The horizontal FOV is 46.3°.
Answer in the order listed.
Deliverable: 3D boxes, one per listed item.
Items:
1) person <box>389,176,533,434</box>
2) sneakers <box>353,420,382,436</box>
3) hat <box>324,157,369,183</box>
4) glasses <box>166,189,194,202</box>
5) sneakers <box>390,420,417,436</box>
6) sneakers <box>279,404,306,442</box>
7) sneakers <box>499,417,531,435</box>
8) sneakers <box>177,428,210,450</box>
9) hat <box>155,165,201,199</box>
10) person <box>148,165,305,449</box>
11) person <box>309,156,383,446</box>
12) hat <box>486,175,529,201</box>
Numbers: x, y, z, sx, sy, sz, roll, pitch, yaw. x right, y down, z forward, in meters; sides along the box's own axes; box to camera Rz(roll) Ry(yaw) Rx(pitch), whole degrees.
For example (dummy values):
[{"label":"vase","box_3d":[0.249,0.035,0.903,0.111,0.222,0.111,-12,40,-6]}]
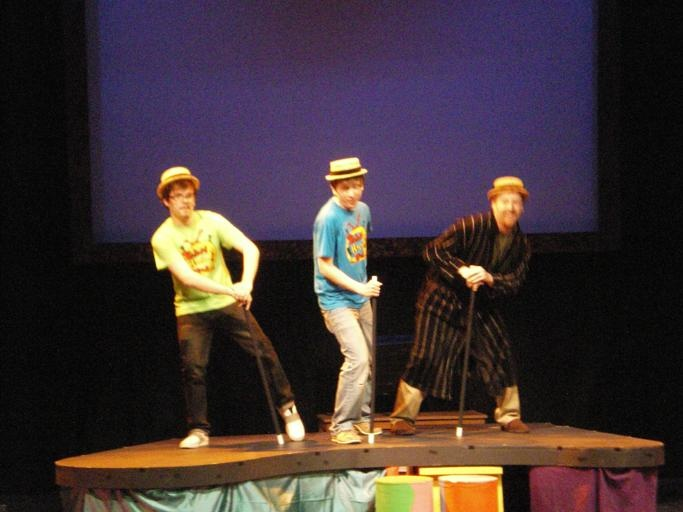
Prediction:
[{"label":"person","box_3d":[0.962,0.370,5.931,0.947,2.060,0.985,2,9,-2]},{"label":"sneakers","box_3d":[0.201,1.249,5.780,0.212,0.098,0.095,-6,-6,36]},{"label":"hat","box_3d":[0.055,-0.619,5.646,0.239,0.100,0.213,-13,9,-34]},{"label":"glasses","box_3d":[-1.123,-0.425,5.591,0.188,0.082,0.068,-6,8,-16]},{"label":"sneakers","box_3d":[0.453,1.248,5.782,0.164,0.090,0.148,-4,8,-4]},{"label":"sneakers","box_3d":[-0.339,1.154,5.724,0.116,0.342,0.134,-14,-21,-12]},{"label":"sneakers","box_3d":[1.284,1.253,5.861,0.081,0.068,0.193,2,-7,-27]},{"label":"sneakers","box_3d":[-1.014,1.276,5.512,0.201,0.130,0.193,-5,8,-14]},{"label":"hat","box_3d":[-1.174,-0.561,5.681,0.305,0.106,0.318,-16,-3,-31]},{"label":"person","box_3d":[-0.852,0.367,5.701,0.886,2.016,0.649,-4,8,-7]},{"label":"person","box_3d":[0.047,0.299,5.619,0.442,1.941,0.681,-3,8,-3]},{"label":"hat","box_3d":[1.240,-0.503,5.996,0.237,0.081,0.242,1,-7,-3]}]
